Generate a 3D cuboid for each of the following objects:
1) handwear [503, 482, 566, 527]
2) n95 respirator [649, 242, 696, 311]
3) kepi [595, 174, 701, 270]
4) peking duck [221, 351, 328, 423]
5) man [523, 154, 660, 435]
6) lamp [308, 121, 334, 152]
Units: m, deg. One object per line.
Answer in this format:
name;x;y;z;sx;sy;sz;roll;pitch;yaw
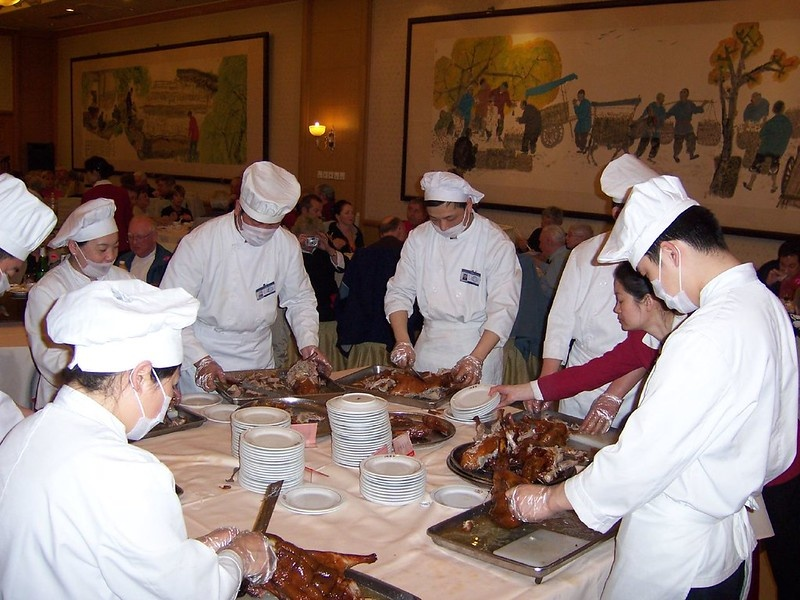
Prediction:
handwear;0.427;0.623;1.795;0.179;0.114;0.074;-25;-10;37
n95 respirator;0.769;-0.054;1.649;0.059;0.153;0.151;-5;-3;17
kepi;0.706;-0.188;1.699;0.151;0.288;0.190;32;5;-36
peking duck;-0.574;0.422;2.821;0.442;0.070;0.268;-2;16;-20
man;1.006;0.289;3.103;0.435;1.143;0.311;14;18;27
lamp;-1.343;-2.758;9.854;0.565;0.507;0.233;6;14;32
